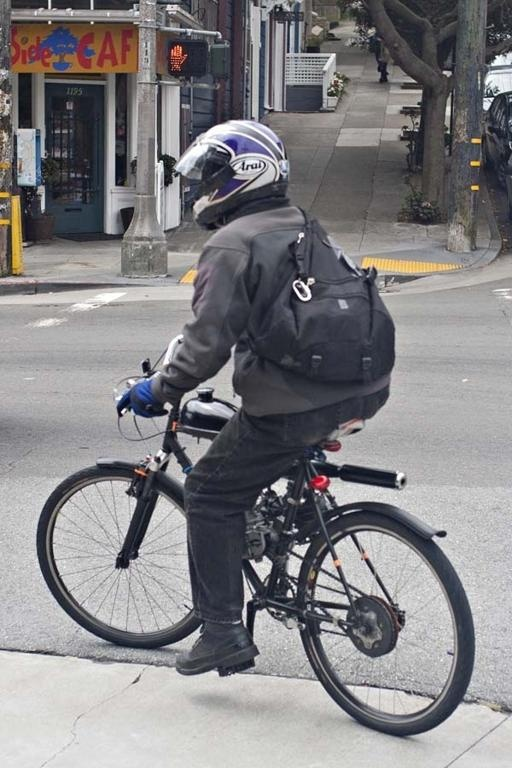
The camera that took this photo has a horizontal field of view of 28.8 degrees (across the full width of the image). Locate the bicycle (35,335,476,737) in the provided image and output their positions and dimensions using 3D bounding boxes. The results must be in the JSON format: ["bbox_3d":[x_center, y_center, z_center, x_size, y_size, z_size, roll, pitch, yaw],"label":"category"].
[{"bbox_3d":[-0.021,0.444,3.147,1.713,1.014,0.769,6,13,41],"label":"bicycle"}]

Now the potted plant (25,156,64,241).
[{"bbox_3d":[-4.117,-3.527,18.399,0.734,1.579,0.705,2,8,14],"label":"potted plant"}]

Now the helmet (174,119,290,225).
[{"bbox_3d":[-0.068,-0.627,2.942,0.341,0.317,0.271,-7,16,-11],"label":"helmet"}]

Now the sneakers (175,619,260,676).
[{"bbox_3d":[-0.112,0.783,2.934,0.288,0.229,0.113,-4,-16,24],"label":"sneakers"}]

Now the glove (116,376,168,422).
[{"bbox_3d":[-0.332,0.028,2.884,0.150,0.066,0.113,-18,-31,37],"label":"glove"}]

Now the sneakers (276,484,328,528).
[{"bbox_3d":[0.152,0.347,2.911,0.097,0.124,0.049,0,4,11],"label":"sneakers"}]
